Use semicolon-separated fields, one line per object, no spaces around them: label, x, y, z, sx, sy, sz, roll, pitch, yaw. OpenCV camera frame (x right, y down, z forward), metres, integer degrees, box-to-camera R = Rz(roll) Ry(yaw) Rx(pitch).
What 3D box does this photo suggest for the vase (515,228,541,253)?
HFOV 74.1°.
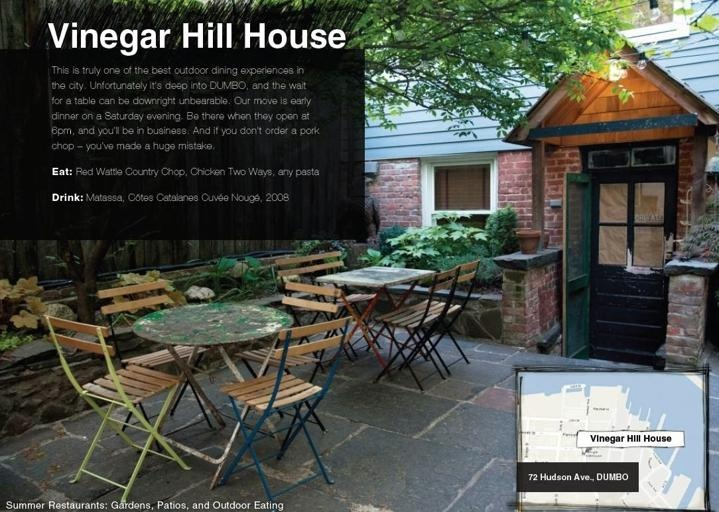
vase;2.350;-0.215;6.747;0.479;0.289;0.403;0;1;2
